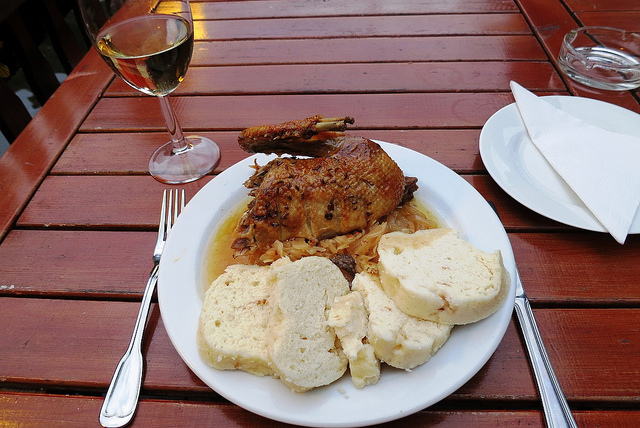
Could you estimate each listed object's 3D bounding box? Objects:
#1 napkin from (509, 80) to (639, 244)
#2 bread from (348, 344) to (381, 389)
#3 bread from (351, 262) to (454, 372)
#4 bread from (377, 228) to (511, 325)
[{"bbox_3d":[1.416,-0.303,2.804,0.451,0.100,0.947,-18,63,-13],"label":"napkin"},{"bbox_3d":[0.185,0.640,2.270,0.157,0.089,0.191,-7,84,-1],"label":"bread"},{"bbox_3d":[0.329,0.430,2.497,0.480,0.334,0.479,7,18,4],"label":"bread"},{"bbox_3d":[0.594,0.242,2.574,0.633,0.149,0.628,13,38,17],"label":"bread"}]
